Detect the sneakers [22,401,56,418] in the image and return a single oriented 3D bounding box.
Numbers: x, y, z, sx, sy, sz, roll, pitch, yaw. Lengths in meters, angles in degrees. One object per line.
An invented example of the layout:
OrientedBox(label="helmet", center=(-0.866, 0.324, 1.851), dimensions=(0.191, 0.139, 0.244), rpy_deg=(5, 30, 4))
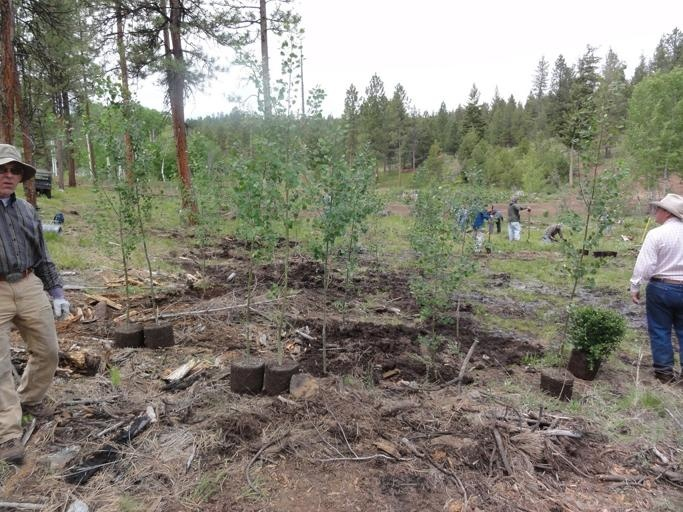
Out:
OrientedBox(label="sneakers", center=(-4.609, 2.341, 8.697), dimensions=(0.457, 0.243, 0.178), rpy_deg=(1, 11, -25))
